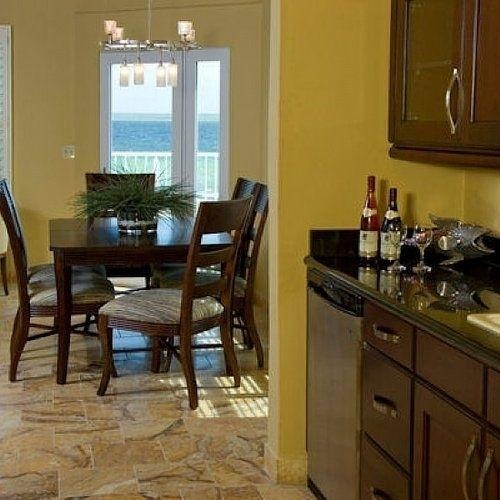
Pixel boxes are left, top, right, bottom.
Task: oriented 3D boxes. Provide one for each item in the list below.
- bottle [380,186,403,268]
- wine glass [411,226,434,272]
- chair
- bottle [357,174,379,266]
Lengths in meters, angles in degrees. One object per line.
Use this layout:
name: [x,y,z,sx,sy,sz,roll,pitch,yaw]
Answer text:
bottle: [0.502,-0.088,2.005,0.075,0.263,0.184,3,7,14]
wine glass: [0.597,-0.008,1.942,0.071,0.150,0.208,3,7,17]
chair: [-0.660,0.168,3.276,1.327,1.207,1.127,0,8,-3]
bottle: [0.437,-0.116,2.048,0.076,0.304,0.093,2,6,13]
